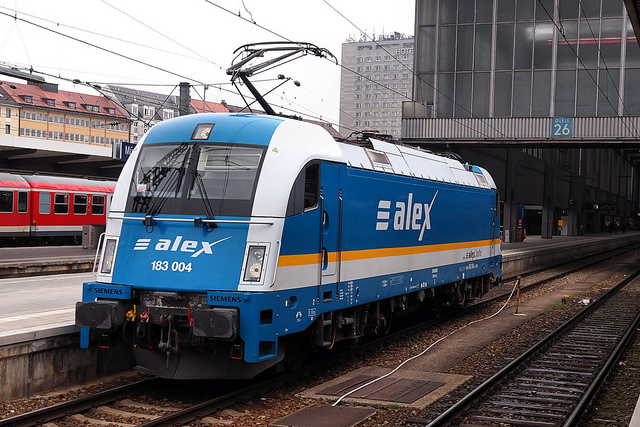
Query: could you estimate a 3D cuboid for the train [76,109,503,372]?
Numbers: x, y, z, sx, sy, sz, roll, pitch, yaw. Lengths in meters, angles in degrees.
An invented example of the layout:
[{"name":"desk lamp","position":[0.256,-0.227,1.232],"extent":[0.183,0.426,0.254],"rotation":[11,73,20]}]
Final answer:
[{"name":"train","position":[1.104,0.262,14.858],"extent":[3.827,5.375,14.958],"rotation":[-1,-2,36]}]
